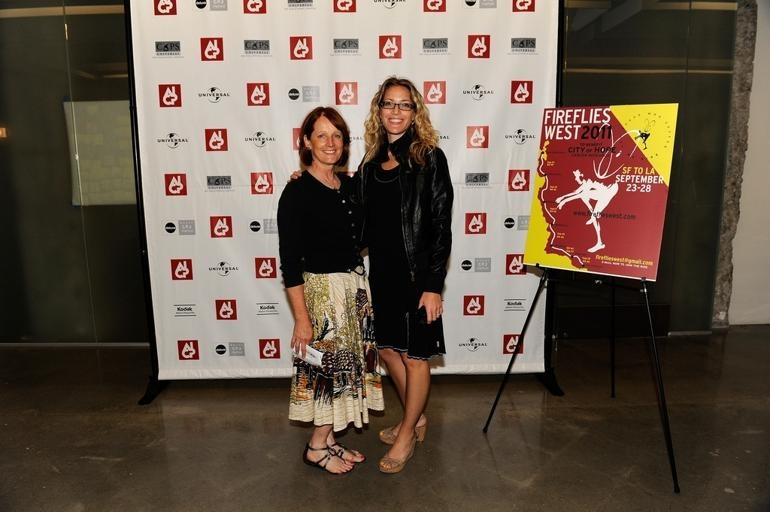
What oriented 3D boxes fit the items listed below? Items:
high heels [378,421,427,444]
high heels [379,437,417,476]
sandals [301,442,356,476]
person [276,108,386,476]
[{"bbox_3d":[0.148,1.378,5.049,0.333,0.131,0.173,1,4,-21],"label":"high heels"},{"bbox_3d":[0.097,1.509,4.801,0.141,0.101,0.365,7,10,31],"label":"high heels"},{"bbox_3d":[-0.424,1.531,4.757,0.332,0.135,0.182,11,31,11],"label":"sandals"},{"bbox_3d":[-0.396,0.288,4.622,0.684,2.654,0.502,-3,11,-10],"label":"person"}]
